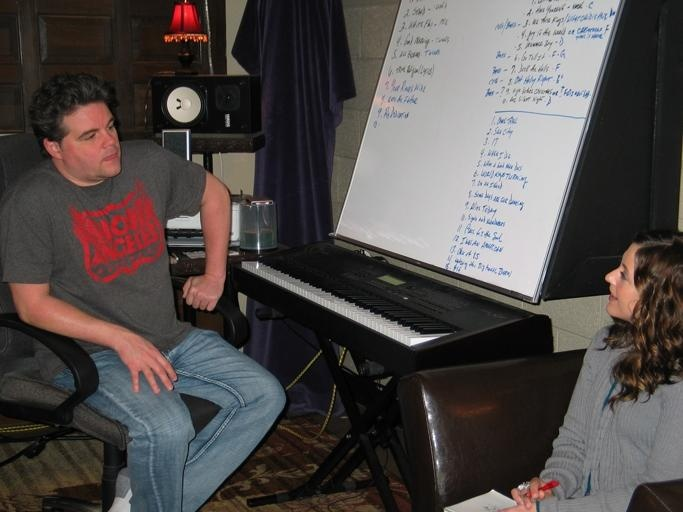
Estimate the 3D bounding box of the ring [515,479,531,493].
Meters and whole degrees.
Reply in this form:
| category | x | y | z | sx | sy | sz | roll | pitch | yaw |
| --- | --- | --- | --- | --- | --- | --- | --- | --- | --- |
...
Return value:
| category | x | y | z | sx | sy | sz | roll | pitch | yaw |
| --- | --- | --- | --- | --- | --- | --- | --- | --- | --- |
| ring | 0.475 | 0.615 | 1.684 | 0.037 | 0.007 | 0.040 | -12 | 10 | 2 |

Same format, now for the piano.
| category | x | y | z | sx | sy | sz | roll | pitch | yaw |
| --- | --- | --- | --- | --- | --- | --- | --- | --- | --- |
| piano | 0.053 | 0.158 | 2.413 | 0.512 | 0.175 | 1.385 | -6 | 13 | -32 |

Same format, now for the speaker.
| category | x | y | z | sx | sy | sz | roll | pitch | yaw |
| --- | --- | --- | --- | --- | --- | --- | --- | --- | --- |
| speaker | -0.627 | -0.695 | 2.883 | 0.517 | 0.260 | 0.359 | 0 | 18 | -11 |
